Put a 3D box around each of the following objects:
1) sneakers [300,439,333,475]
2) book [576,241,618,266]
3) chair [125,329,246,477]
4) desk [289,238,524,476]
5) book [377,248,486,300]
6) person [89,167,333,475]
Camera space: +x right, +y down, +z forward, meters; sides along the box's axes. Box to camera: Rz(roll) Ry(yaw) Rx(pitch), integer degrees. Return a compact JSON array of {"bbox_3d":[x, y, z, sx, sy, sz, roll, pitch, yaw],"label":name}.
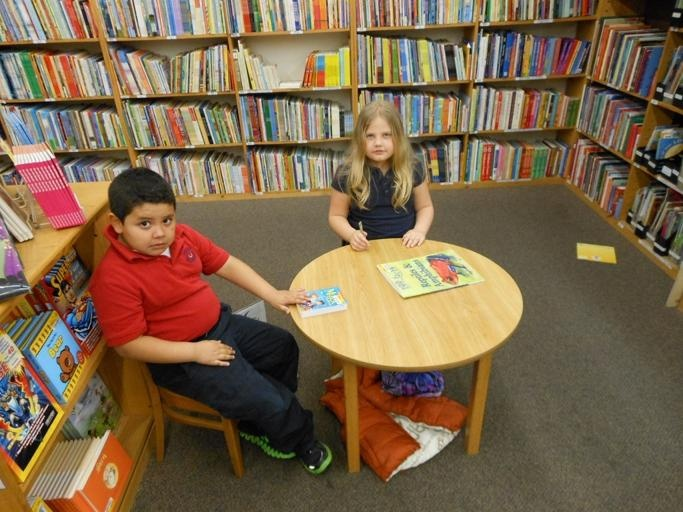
[{"bbox_3d":[-0.117,0.776,1.911,0.082,0.075,0.173,-52,28,-19],"label":"sneakers"},{"bbox_3d":[1.668,-0.011,3.150,0.207,0.021,0.156,5,35,2],"label":"book"},{"bbox_3d":[-0.585,0.546,1.800,0.360,0.582,0.335,0,37,-1],"label":"chair"},{"bbox_3d":[0.226,0.475,2.054,0.836,0.651,0.873,-6,40,-4],"label":"desk"},{"bbox_3d":[0.346,0.069,1.908,0.241,0.027,0.204,-10,37,-16],"label":"book"},{"bbox_3d":[-0.522,0.304,2.009,0.906,1.443,0.728,4,43,3],"label":"person"}]
